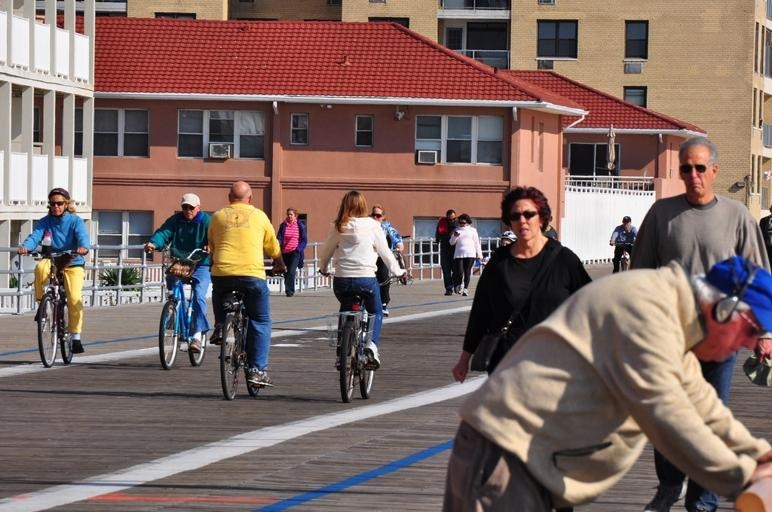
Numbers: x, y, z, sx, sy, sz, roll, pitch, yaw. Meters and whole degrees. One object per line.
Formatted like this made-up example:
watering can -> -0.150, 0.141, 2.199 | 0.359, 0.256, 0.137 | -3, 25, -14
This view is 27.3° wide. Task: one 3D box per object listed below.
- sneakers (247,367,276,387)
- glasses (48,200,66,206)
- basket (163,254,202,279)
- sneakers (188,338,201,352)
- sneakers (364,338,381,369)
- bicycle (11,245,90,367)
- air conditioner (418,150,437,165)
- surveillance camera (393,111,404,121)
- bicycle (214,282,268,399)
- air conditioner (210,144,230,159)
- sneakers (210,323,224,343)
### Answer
sneakers -> -1.595, 1.562, 20.385 | 0.170, 0.152, 0.409 | 0, -3, 33
glasses -> -4.751, -0.743, 22.671 | 0.285, 0.076, 0.148 | 0, 2, 34
basket -> -2.822, 0.145, 22.572 | 0.496, 0.385, 0.331 | 11, -6, 29
sneakers -> -2.708, 1.264, 22.535 | 0.215, 0.199, 0.094 | -2, 2, -37
sneakers -> -0.159, 1.231, 20.210 | 0.176, 0.367, 0.183 | -8, -2, 10
bicycle -> -4.732, 0.701, 22.566 | 0.550, 1.730, 1.129 | -1, 2, 4
air conditioner -> 1.332, -3.111, 50.441 | 0.897, 0.497, 0.412 | 1, 2, 7
surveillance camera -> 0.433, -4.406, 50.074 | 0.235, 0.276, 0.101 | -1, 18, 3
bicycle -> -1.906, 1.126, 20.110 | 0.395, 1.384, 0.927 | -1, 2, 13
air conditioner -> -5.321, -3.329, 50.514 | 0.922, 0.531, 0.454 | 1, 1, 3
sneakers -> -2.133, 0.984, 19.950 | 0.168, 0.252, 0.549 | -1, 1, -7
